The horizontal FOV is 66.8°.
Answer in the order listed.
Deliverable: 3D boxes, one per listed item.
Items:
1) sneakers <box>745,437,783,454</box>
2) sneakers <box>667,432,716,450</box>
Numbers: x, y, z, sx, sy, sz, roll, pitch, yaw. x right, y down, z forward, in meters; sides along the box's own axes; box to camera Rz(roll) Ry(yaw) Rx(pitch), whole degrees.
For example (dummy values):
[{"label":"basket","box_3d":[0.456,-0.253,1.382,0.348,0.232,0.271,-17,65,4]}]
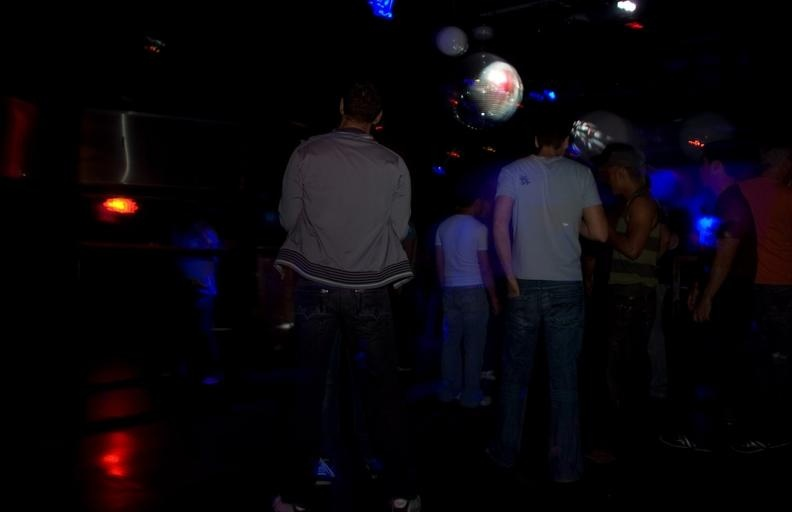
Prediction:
[{"label":"sneakers","box_3d":[3.749,1.908,6.131,0.483,0.144,0.158,-1,-12,-9]},{"label":"sneakers","box_3d":[3.017,1.899,6.096,0.496,0.148,0.167,1,3,15]}]
